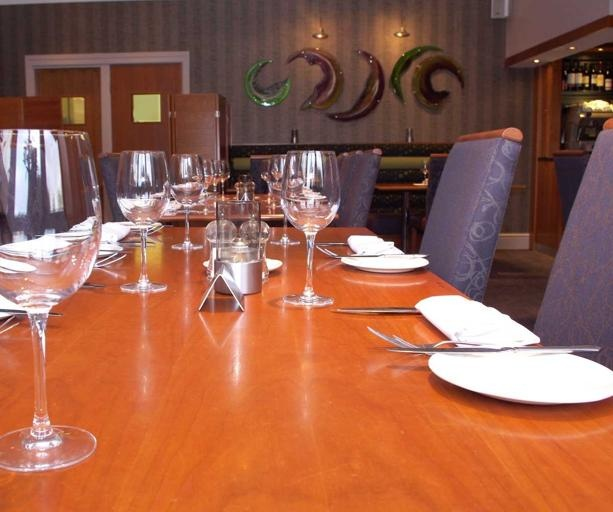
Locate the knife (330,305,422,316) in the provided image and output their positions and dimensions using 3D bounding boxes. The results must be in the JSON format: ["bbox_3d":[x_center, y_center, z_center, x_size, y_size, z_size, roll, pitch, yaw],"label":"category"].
[{"bbox_3d":[0.105,0.083,0.855,0.144,0.012,0.016,1,-2,-4],"label":"knife"}]
